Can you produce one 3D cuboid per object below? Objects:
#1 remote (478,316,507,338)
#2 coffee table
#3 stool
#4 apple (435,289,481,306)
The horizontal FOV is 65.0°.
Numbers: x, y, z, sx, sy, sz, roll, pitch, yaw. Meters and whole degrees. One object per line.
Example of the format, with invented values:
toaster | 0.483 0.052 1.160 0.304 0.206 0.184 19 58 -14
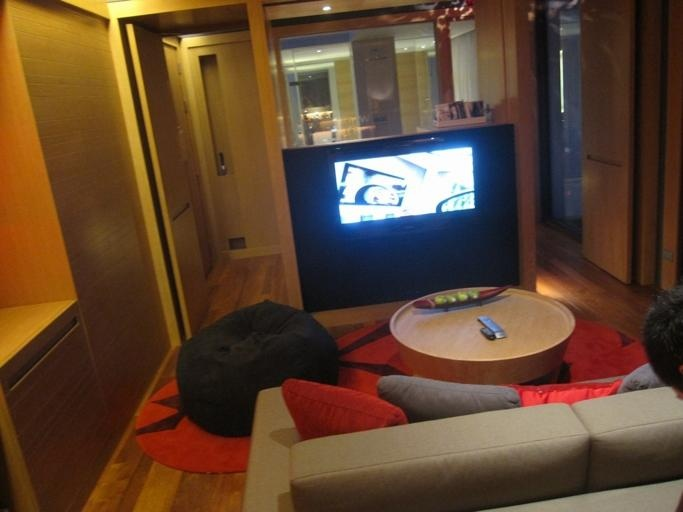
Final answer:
remote | 0.989 0.464 3.532 0.091 0.030 0.139 -10 25 -15
coffee table | 0.971 0.548 3.601 1.194 0.239 0.895 -11 20 -11
stool | -0.573 0.670 3.567 0.826 0.317 0.876 16 35 27
apple | 0.842 0.306 3.956 0.394 0.123 0.127 -7 3 -9
